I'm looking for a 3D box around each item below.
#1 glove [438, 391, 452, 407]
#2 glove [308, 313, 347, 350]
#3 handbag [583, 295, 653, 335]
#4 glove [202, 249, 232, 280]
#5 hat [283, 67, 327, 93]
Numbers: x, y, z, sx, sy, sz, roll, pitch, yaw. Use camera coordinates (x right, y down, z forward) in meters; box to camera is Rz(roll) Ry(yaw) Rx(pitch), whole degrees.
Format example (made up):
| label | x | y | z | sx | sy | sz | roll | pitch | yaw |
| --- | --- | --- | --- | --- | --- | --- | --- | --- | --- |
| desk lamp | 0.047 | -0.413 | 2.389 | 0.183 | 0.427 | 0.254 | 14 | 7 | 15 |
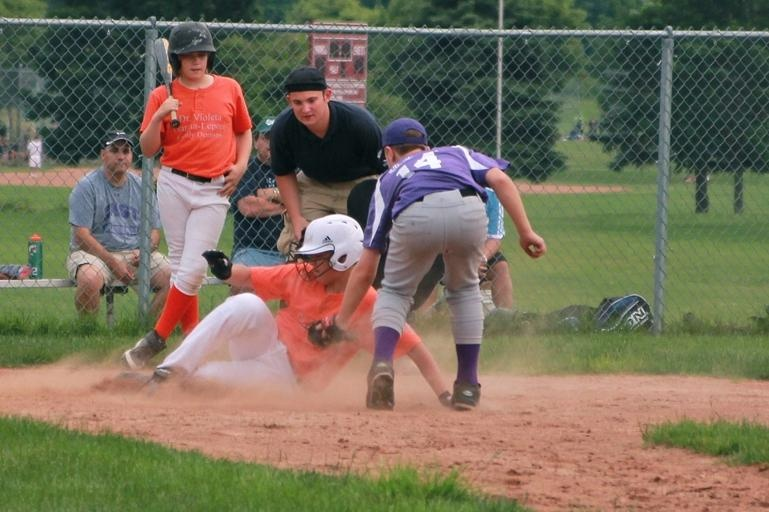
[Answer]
| label | x | y | z | sx | sy | sz | roll | pitch | yaw |
| --- | --- | --- | --- | --- | --- | --- | --- | --- | --- |
| glove | 0.761 | 1.779 | 18.715 | 0.152 | 0.171 | 0.163 | -36 | -22 | -15 |
| glove | -0.705 | 0.950 | 18.475 | 0.377 | 0.353 | 0.169 | -17 | -12 | 7 |
| handbag | 3.317 | 0.807 | 20.821 | 0.686 | 0.500 | 0.272 | -13 | -39 | -2 |
| glove | -2.059 | 0.055 | 18.472 | 0.241 | 0.426 | 0.119 | -30 | 25 | -13 |
| hat | -0.993 | -2.279 | 19.228 | 0.407 | 0.255 | 0.575 | -3 | 19 | -1 |
